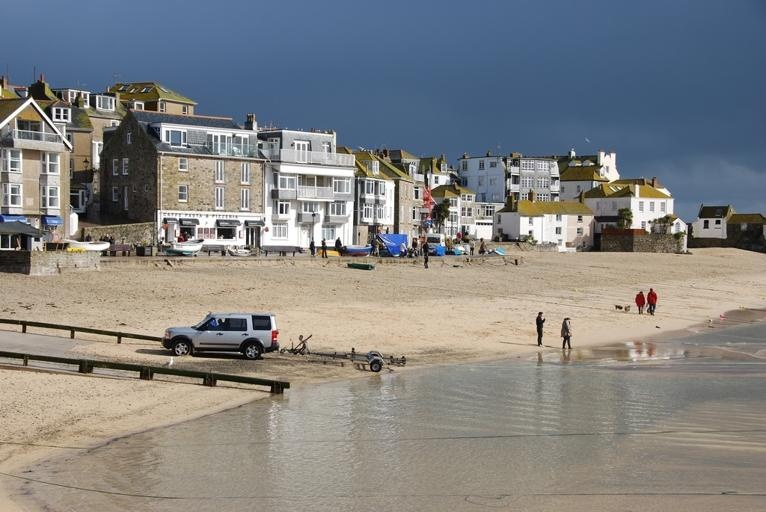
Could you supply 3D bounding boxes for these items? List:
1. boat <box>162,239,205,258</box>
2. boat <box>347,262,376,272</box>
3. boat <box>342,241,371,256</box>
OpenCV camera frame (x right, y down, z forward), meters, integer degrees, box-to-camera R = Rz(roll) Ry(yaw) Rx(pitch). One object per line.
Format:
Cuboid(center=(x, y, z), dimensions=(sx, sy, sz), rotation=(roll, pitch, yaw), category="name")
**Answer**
Cuboid(center=(-15.009, -0.669, 111.291), dimensions=(1.663, 1.183, 3.422), rotation=(1, 0, 34), category="boat")
Cuboid(center=(-1.713, 0.746, 110.398), dimensions=(2.928, 0.369, 0.682), rotation=(7, 8, 42), category="boat")
Cuboid(center=(-2.156, -0.490, 120.974), dimensions=(0.951, 0.819, 3.738), rotation=(1, 0, 34), category="boat")
